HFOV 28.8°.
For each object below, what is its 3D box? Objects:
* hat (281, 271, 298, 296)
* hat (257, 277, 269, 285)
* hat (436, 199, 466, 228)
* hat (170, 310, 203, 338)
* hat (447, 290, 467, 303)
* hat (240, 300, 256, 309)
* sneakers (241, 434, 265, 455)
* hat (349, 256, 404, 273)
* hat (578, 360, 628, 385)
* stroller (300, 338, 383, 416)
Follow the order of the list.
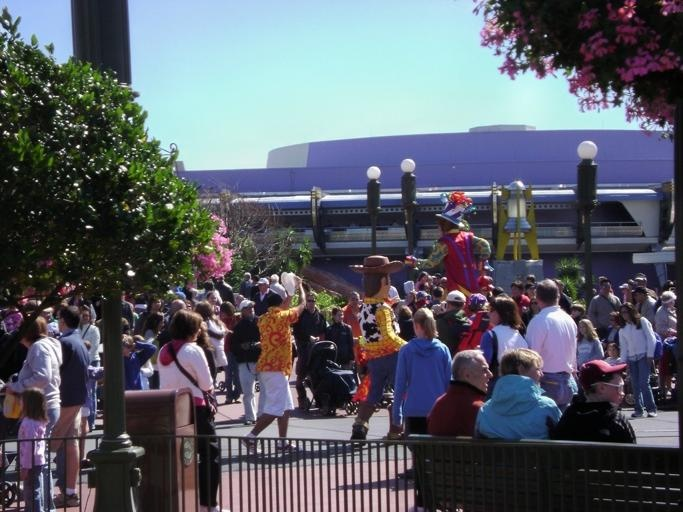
[{"bbox_3d":[-0.590,0.292,13.951,0.054,0.211,0.205,-11,-7,19],"label":"hat"},{"bbox_3d":[-1.169,0.373,19.590,0.114,0.086,0.160,-3,-10,21],"label":"hat"},{"bbox_3d":[1.404,-0.511,17.221,0.329,0.232,0.340,24,-2,9],"label":"hat"},{"bbox_3d":[-1.435,0.642,12.228,0.202,0.276,0.273,5,19,-2],"label":"hat"},{"bbox_3d":[1.201,0.453,14.632,0.128,0.108,0.167,4,-6,-39],"label":"hat"},{"bbox_3d":[-1.200,0.614,16.694,0.159,0.066,0.119,-17,7,-5],"label":"hat"},{"bbox_3d":[-0.737,1.539,10.928,0.131,0.176,0.404,1,1,0],"label":"sneakers"},{"bbox_3d":[0.537,0.131,20.554,0.647,0.239,0.739,-1,1,12],"label":"hat"},{"bbox_3d":[2.107,0.967,10.909,0.313,0.171,0.195,-18,4,6],"label":"hat"},{"bbox_3d":[0.003,1.568,16.850,0.902,0.969,0.691,-3,-2,43],"label":"stroller"}]
